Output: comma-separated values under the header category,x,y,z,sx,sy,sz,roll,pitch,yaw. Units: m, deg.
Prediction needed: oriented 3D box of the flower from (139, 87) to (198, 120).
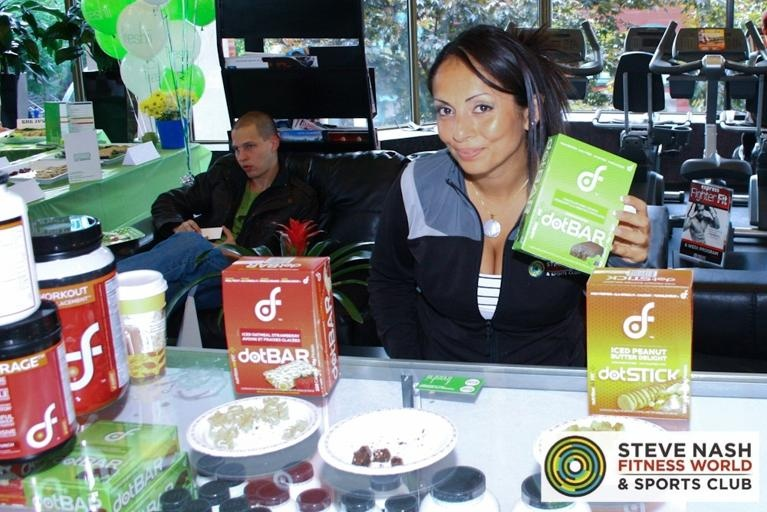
category,x,y,z,sx,sy,sz,roll,pitch,yaw
flower,-1.922,-1.325,4.811,0.356,0.292,0.353,-10,0,-13

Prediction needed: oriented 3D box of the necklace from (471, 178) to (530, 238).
category,x,y,z,sx,sy,sz,roll,pitch,yaw
necklace,0.349,-0.140,1.611,0.194,0.225,0.019,3,-24,15

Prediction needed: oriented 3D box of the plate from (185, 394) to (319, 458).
category,x,y,z,sx,sy,sz,roll,pitch,yaw
plate,-0.256,0.332,1.082,0.254,0.045,0.163,-2,14,-5

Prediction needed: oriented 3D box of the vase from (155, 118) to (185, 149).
category,x,y,z,sx,sy,sz,roll,pitch,yaw
vase,-1.837,-1.079,4.854,0.249,0.266,0.254,3,19,17

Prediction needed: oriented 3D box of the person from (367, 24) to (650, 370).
category,x,y,z,sx,sy,sz,roll,pitch,yaw
person,0.273,-0.167,1.649,0.684,0.983,0.366,4,14,20
